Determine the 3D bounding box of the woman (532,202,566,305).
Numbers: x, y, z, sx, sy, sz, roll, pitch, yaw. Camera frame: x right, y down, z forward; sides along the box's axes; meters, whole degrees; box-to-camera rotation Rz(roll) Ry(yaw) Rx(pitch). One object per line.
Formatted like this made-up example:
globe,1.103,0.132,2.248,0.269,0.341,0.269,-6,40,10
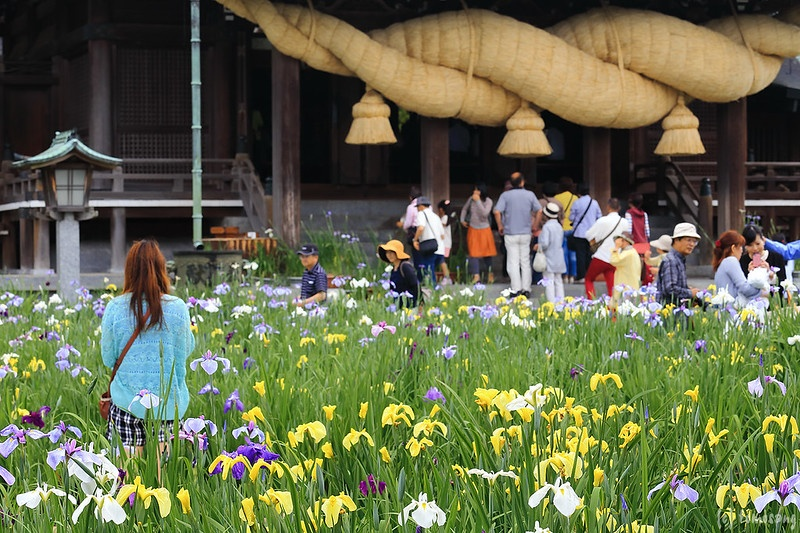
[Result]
woman,2.188,-0.157,17.021,0.404,1.507,0.371,-3,4,-41

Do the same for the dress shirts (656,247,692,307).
dress shirts,3.245,0.090,13.678,0.311,0.706,0.608,3,3,21

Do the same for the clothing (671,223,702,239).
clothing,3.385,-0.444,13.694,0.279,0.199,0.311,-1,-3,-12

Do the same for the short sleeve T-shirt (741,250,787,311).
short sleeve T-shirt,4.263,0.154,13.709,0.401,0.691,0.388,-18,-20,34

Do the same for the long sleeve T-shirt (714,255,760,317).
long sleeve T-shirt,3.952,0.179,13.555,0.241,0.566,0.381,-10,-3,27

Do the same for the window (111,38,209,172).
window,-4.273,-2.858,21.180,1.698,2.838,0.217,-3,41,-16

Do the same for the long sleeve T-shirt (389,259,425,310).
long sleeve T-shirt,0.073,0.217,14.306,0.243,0.612,0.383,-15,15,-36

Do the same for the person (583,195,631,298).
person,2.827,-0.201,16.365,0.414,1.800,0.487,3,19,5

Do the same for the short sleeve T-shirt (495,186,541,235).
short sleeve T-shirt,1.796,-0.818,17.668,0.625,0.804,0.374,1,-21,9

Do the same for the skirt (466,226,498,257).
skirt,1.252,-0.386,18.416,0.416,0.732,0.399,-1,-8,-4

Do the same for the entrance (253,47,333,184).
entrance,-2.111,-2.719,23.282,1.717,3.250,1.908,-7,18,-14

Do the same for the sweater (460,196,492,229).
sweater,1.251,-0.794,18.413,0.468,0.720,0.426,0,-9,15

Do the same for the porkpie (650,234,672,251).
porkpie,3.306,-0.314,14.712,0.247,0.176,0.206,5,9,-5

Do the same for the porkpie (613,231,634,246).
porkpie,3.011,-0.408,15.647,0.240,0.147,0.516,-4,-2,10

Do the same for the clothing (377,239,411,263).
clothing,-0.064,-0.231,14.476,0.250,0.180,0.317,16,-20,17

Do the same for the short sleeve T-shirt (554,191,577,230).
short sleeve T-shirt,2.679,-0.928,18.555,0.352,0.629,0.227,0,-1,-8

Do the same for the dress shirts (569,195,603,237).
dress shirts,2.913,-0.896,18.269,0.421,0.700,0.382,-8,30,-6

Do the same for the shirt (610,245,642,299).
shirt,2.941,0.054,15.203,0.264,1.025,0.290,-16,27,-32

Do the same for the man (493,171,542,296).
man,1.810,-0.579,17.689,0.597,1.972,0.459,-1,23,5

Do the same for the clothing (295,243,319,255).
clothing,-1.078,-0.217,14.188,0.136,0.133,0.219,0,-4,22
